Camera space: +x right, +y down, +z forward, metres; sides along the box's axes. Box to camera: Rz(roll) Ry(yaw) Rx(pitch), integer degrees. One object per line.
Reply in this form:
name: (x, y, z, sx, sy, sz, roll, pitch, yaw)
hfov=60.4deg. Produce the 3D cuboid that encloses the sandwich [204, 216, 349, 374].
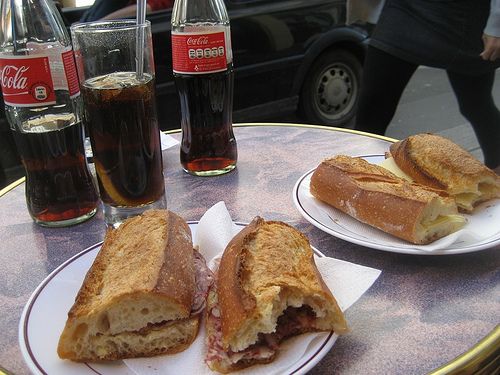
sandwich: (0.060, 0.150, 0.706, 0.226, 0.186, 0.195, 3, 18, 11)

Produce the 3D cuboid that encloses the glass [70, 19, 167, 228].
glass: (-0.288, -0.128, 0.997, 0.162, 0.475, 0.168, -4, 21, -7)

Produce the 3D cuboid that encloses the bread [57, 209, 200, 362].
bread: (-0.193, 0.151, 0.809, 0.239, 0.125, 0.365, -5, 22, -7)

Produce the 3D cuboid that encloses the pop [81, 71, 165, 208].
pop: (-0.296, -0.107, 1.008, 0.183, 0.323, 0.186, 6, 18, 33)

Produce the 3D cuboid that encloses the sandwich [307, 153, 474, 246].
sandwich: (0.297, -0.036, 0.966, 0.183, 0.109, 0.296, -22, 34, -34)

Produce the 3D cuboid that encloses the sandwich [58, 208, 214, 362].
sandwich: (-0.205, 0.157, 0.814, 0.240, 0.123, 0.366, -7, 19, -11)
